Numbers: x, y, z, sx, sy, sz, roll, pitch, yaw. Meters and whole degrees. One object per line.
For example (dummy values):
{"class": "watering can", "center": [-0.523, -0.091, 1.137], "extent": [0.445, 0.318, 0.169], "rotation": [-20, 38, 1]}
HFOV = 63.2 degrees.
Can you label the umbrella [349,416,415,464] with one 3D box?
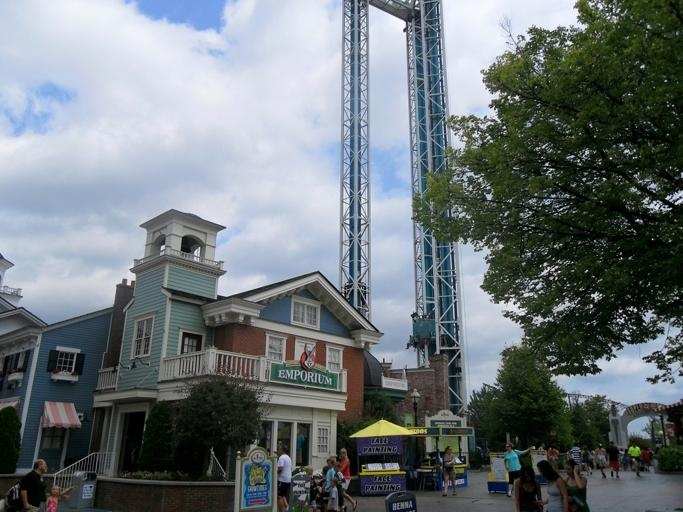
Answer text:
{"class": "umbrella", "center": [1.853, 8.162, 25.264], "extent": [2.402, 1.542, 1.381], "rotation": [-11, -22, 21]}
